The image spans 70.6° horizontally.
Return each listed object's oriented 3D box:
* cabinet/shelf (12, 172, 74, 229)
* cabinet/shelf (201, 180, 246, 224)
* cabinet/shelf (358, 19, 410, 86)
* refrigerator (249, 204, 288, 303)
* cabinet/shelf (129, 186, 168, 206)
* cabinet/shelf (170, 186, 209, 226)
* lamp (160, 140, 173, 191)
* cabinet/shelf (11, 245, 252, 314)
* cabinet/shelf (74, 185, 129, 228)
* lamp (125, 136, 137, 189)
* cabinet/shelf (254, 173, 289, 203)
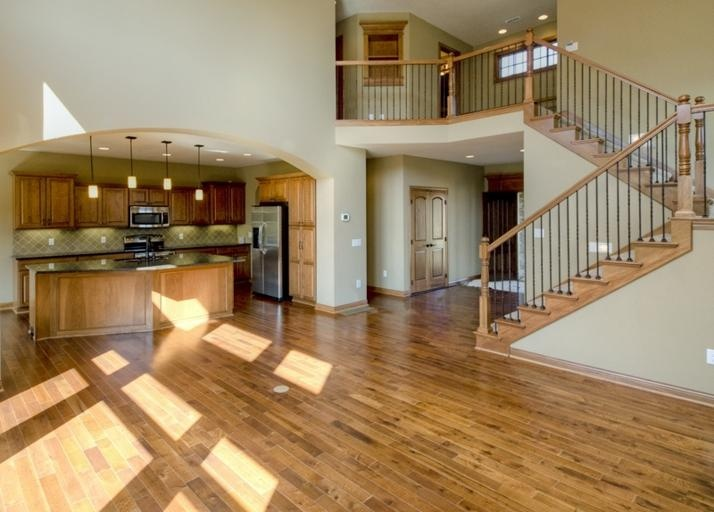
[{"bbox_3d":[-6.141,-1.075,9.787,0.479,1.206,1.142,7,6,42],"label":"cabinet/shelf"},{"bbox_3d":[-3.316,-1.314,12.335,0.592,1.127,1.113,2,3,44],"label":"cabinet/shelf"},{"bbox_3d":[0.510,-3.992,10.137,0.902,1.154,0.282,3,9,13],"label":"cabinet/shelf"},{"bbox_3d":[-1.698,-0.108,10.785,1.099,1.866,0.943,7,9,44],"label":"refrigerator"},{"bbox_3d":[-4.644,-1.308,11.276,0.109,0.416,0.851,6,10,44],"label":"cabinet/shelf"},{"bbox_3d":[-3.977,-1.132,12.080,0.935,0.862,0.422,-1,-4,-10],"label":"cabinet/shelf"},{"bbox_3d":[-3.957,-1.817,10.505,0.219,0.890,2.767,-4,8,-20],"label":"lamp"},{"bbox_3d":[-4.248,0.361,10.825,2.156,1.086,4.983,4,9,37],"label":"cabinet/shelf"},{"bbox_3d":[-5.482,-1.074,10.781,1.013,0.915,0.453,-3,18,-36],"label":"cabinet/shelf"},{"bbox_3d":[-4.436,-1.784,9.991,0.210,0.899,2.919,-5,8,-23],"label":"lamp"},{"bbox_3d":[-1.795,-1.444,10.716,0.958,0.579,0.365,3,2,41],"label":"cabinet/shelf"}]
